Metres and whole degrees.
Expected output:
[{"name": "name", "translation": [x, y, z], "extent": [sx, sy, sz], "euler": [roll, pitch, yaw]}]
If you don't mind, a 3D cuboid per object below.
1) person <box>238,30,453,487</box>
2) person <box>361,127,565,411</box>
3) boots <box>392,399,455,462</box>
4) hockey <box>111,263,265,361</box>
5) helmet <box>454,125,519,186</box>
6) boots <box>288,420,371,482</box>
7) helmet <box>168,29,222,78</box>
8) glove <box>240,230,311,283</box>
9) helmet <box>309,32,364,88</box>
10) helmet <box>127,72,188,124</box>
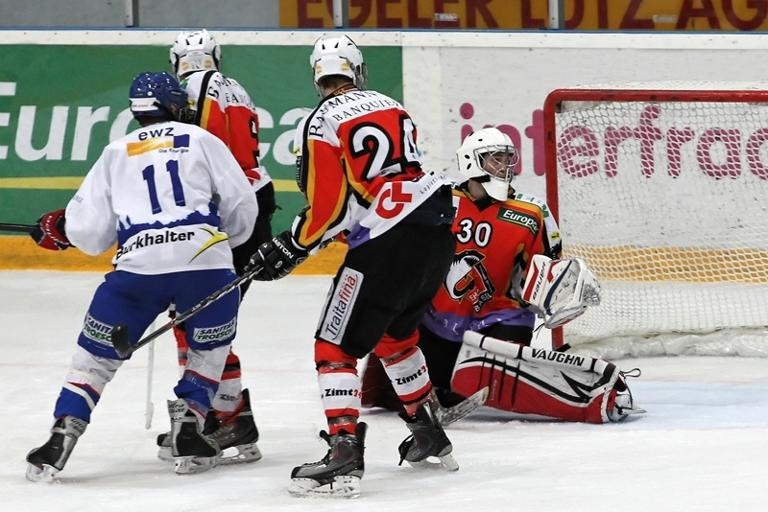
[{"name": "person", "translation": [-0.117, 0.160, 5.303], "extent": [1.027, 1.874, 0.764], "euler": [-3, 15, -9]}, {"name": "person", "translation": [0.493, 0.121, 6.336], "extent": [1.398, 1.768, 1.107], "euler": [1, -9, 25]}, {"name": "boots", "translation": [0.205, 0.945, 5.659], "extent": [0.185, 0.335, 0.516], "euler": [-8, -13, -30]}, {"name": "hockey", "translation": [-0.982, 0.259, 5.484], "extent": [0.843, 0.175, 0.090], "euler": [-27, -8, -4]}, {"name": "helmet", "translation": [0.620, -0.629, 6.427], "extent": [0.378, 0.288, 0.303], "euler": [2, 12, 42]}, {"name": "boots", "translation": [-0.257, 0.990, 5.314], "extent": [0.476, 0.293, 0.168], "euler": [-12, -20, 32]}, {"name": "helmet", "translation": [-1.121, -1.184, 6.420], "extent": [0.325, 0.356, 0.378], "euler": [-5, 13, 0]}, {"name": "glove", "translation": [-0.543, 0.011, 5.484], "extent": [0.362, 0.189, 0.118], "euler": [-33, -5, 16]}, {"name": "helmet", "translation": [-0.242, -1.015, 5.711], "extent": [0.274, 0.286, 0.340], "euler": [-3, 13, 10]}, {"name": "helmet", "translation": [-1.138, -0.848, 5.697], "extent": [0.239, 0.273, 0.310], "euler": [12, 11, 37]}]
